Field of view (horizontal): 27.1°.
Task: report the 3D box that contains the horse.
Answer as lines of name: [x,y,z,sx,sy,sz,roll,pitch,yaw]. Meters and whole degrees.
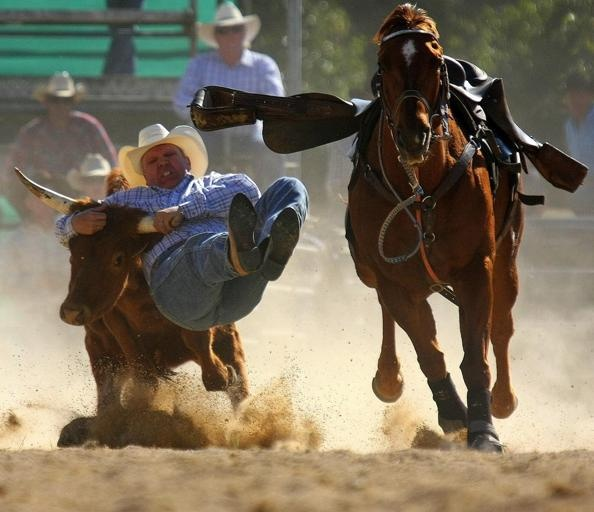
horse: [0.811,-0.040,7.447,1.202,2.839,1.377,8,27,11]

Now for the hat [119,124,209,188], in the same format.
hat: [-0.981,-0.757,8.232,0.492,0.212,0.556,-24,-8,29]

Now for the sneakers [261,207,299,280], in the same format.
sneakers: [-0.102,-0.084,7.218,0.183,0.436,0.188,20,5,-6]

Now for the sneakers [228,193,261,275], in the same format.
sneakers: [-0.319,-0.105,7.128,0.180,0.517,0.170,-6,27,-16]

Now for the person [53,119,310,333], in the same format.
person: [-0.769,-0.173,8.250,1.396,1.156,1.965,-11,23,-24]

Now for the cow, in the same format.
cow: [-0.965,0.278,8.337,1.038,2.684,1.596,-11,68,13]

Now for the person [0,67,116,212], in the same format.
person: [-2.107,-0.972,10.500,0.924,0.547,1.699,-15,52,-15]
